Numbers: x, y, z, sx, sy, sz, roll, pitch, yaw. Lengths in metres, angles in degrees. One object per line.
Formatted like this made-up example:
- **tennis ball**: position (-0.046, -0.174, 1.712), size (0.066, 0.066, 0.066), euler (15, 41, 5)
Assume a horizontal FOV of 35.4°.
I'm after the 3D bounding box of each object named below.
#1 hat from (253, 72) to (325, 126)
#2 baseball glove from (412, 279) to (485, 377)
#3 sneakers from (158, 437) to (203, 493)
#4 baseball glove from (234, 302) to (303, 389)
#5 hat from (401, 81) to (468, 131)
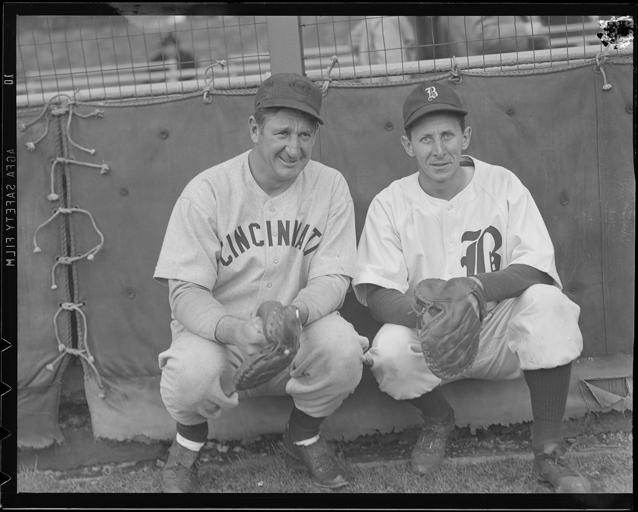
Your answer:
- **hat**: position (-0.143, -0.795, 5.072), size (0.342, 0.240, 0.461), euler (10, -4, -23)
- **baseball glove**: position (0.648, 0.342, 4.950), size (0.337, 0.492, 0.171), euler (-4, 11, -13)
- **sneakers**: position (-0.673, 1.061, 5.011), size (0.198, 0.208, 0.102), euler (6, -6, 8)
- **baseball glove**: position (-0.290, 0.436, 4.935), size (0.403, 0.299, 0.176), euler (-49, 25, 0)
- **hat**: position (0.588, -0.785, 5.140), size (0.309, 0.219, 0.419), euler (-9, -3, 4)
